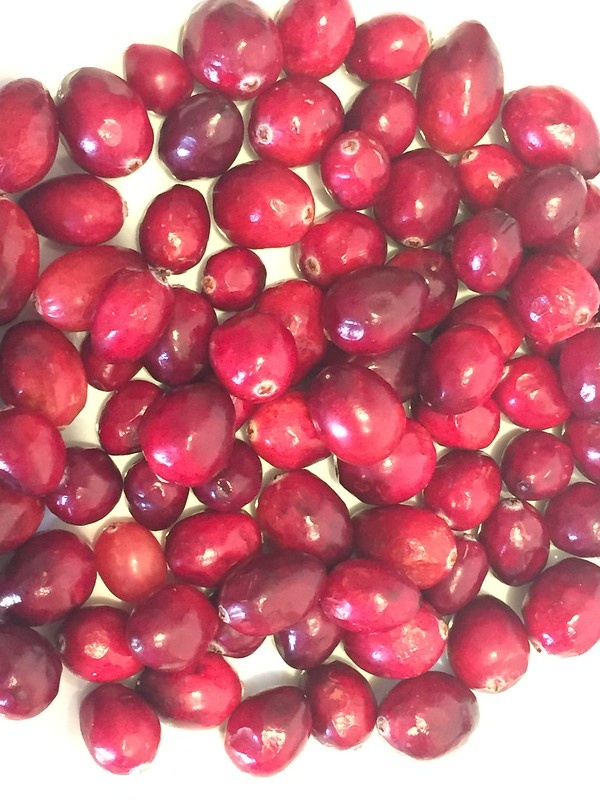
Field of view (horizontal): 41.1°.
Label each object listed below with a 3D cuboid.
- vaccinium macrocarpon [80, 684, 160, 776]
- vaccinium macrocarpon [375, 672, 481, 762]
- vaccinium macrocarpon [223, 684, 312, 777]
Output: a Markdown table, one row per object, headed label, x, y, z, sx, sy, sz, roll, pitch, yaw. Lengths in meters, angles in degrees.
| label | x | y | z | sx | sy | sz | roll | pitch | yaw |
| --- | --- | --- | --- | --- | --- | --- | --- | --- | --- |
| vaccinium macrocarpon | -0.179 | 0.333 | 0.807 | 0.078 | 0.085 | 0.054 | -9 | 6 | -17 |
| vaccinium macrocarpon | 0.136 | 0.348 | 0.881 | 0.117 | 0.082 | 0.086 | 16 | 38 | -30 |
| vaccinium macrocarpon | -0.029 | 0.342 | 0.843 | 0.104 | 0.080 | 0.059 | -40 | -19 | -18 |
